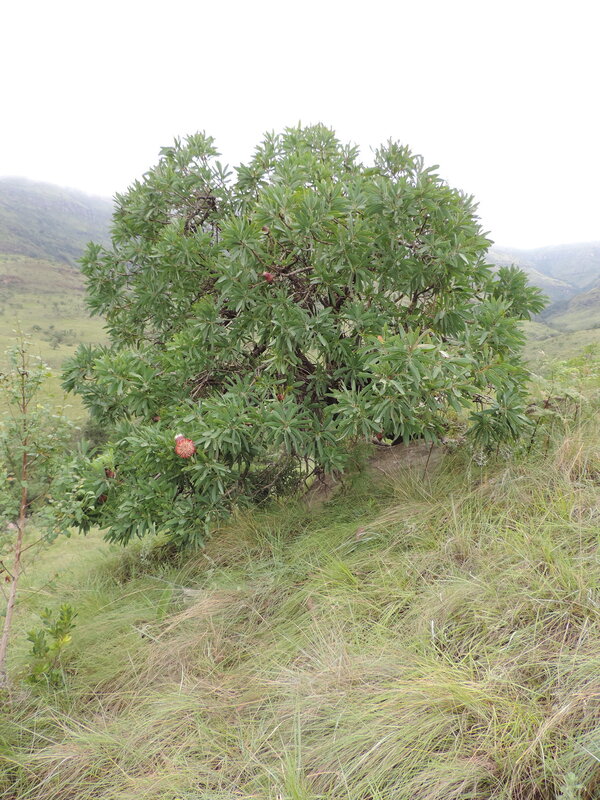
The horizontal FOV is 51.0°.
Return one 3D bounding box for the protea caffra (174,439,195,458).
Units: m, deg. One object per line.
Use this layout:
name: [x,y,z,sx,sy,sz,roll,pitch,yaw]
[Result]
protea caffra: [-0.747,0.326,4.103,0.136,0.142,0.094,2,6,-3]
